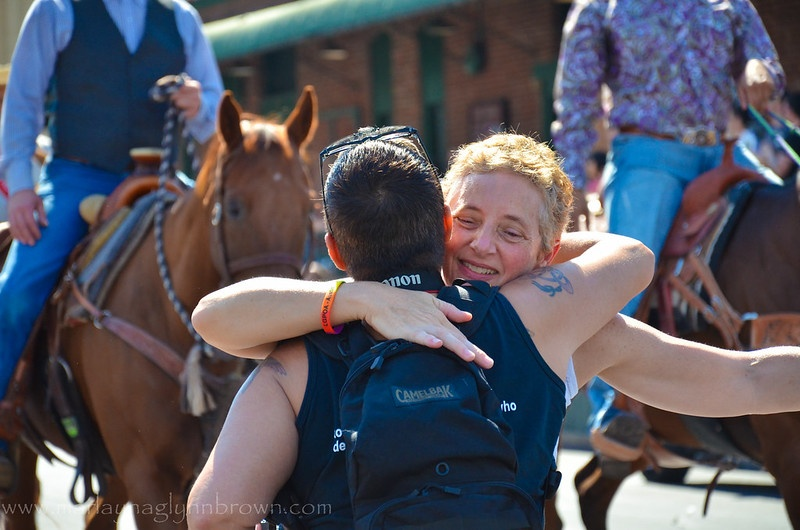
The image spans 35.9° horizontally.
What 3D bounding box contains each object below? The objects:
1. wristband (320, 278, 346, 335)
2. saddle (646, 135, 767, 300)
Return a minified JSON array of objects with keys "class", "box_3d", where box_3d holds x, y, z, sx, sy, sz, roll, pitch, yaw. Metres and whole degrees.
[{"class":"wristband","box_3d":[-0.351,0.217,6.135,0.047,0.213,0.184,8,29,18]},{"class":"saddle","box_3d":[2.054,-0.336,7.800,0.474,1.363,0.335,10,13,-46]}]
